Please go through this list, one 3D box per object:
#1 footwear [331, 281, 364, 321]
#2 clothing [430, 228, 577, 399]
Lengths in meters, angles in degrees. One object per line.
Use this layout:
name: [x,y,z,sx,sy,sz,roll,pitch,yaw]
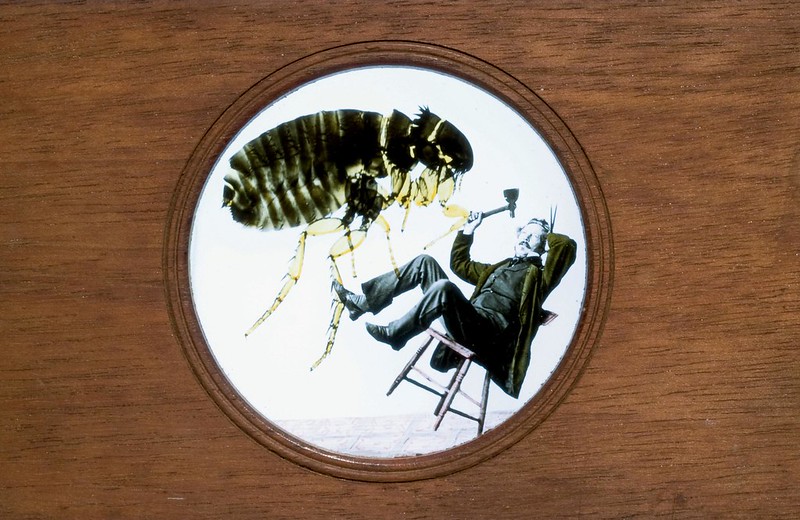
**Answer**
footwear: [-0.169,0.121,4.147,0.112,0.110,0.034,-29,-8,-11]
clothing: [0.407,0.132,4.310,0.502,0.441,0.676,4,18,8]
